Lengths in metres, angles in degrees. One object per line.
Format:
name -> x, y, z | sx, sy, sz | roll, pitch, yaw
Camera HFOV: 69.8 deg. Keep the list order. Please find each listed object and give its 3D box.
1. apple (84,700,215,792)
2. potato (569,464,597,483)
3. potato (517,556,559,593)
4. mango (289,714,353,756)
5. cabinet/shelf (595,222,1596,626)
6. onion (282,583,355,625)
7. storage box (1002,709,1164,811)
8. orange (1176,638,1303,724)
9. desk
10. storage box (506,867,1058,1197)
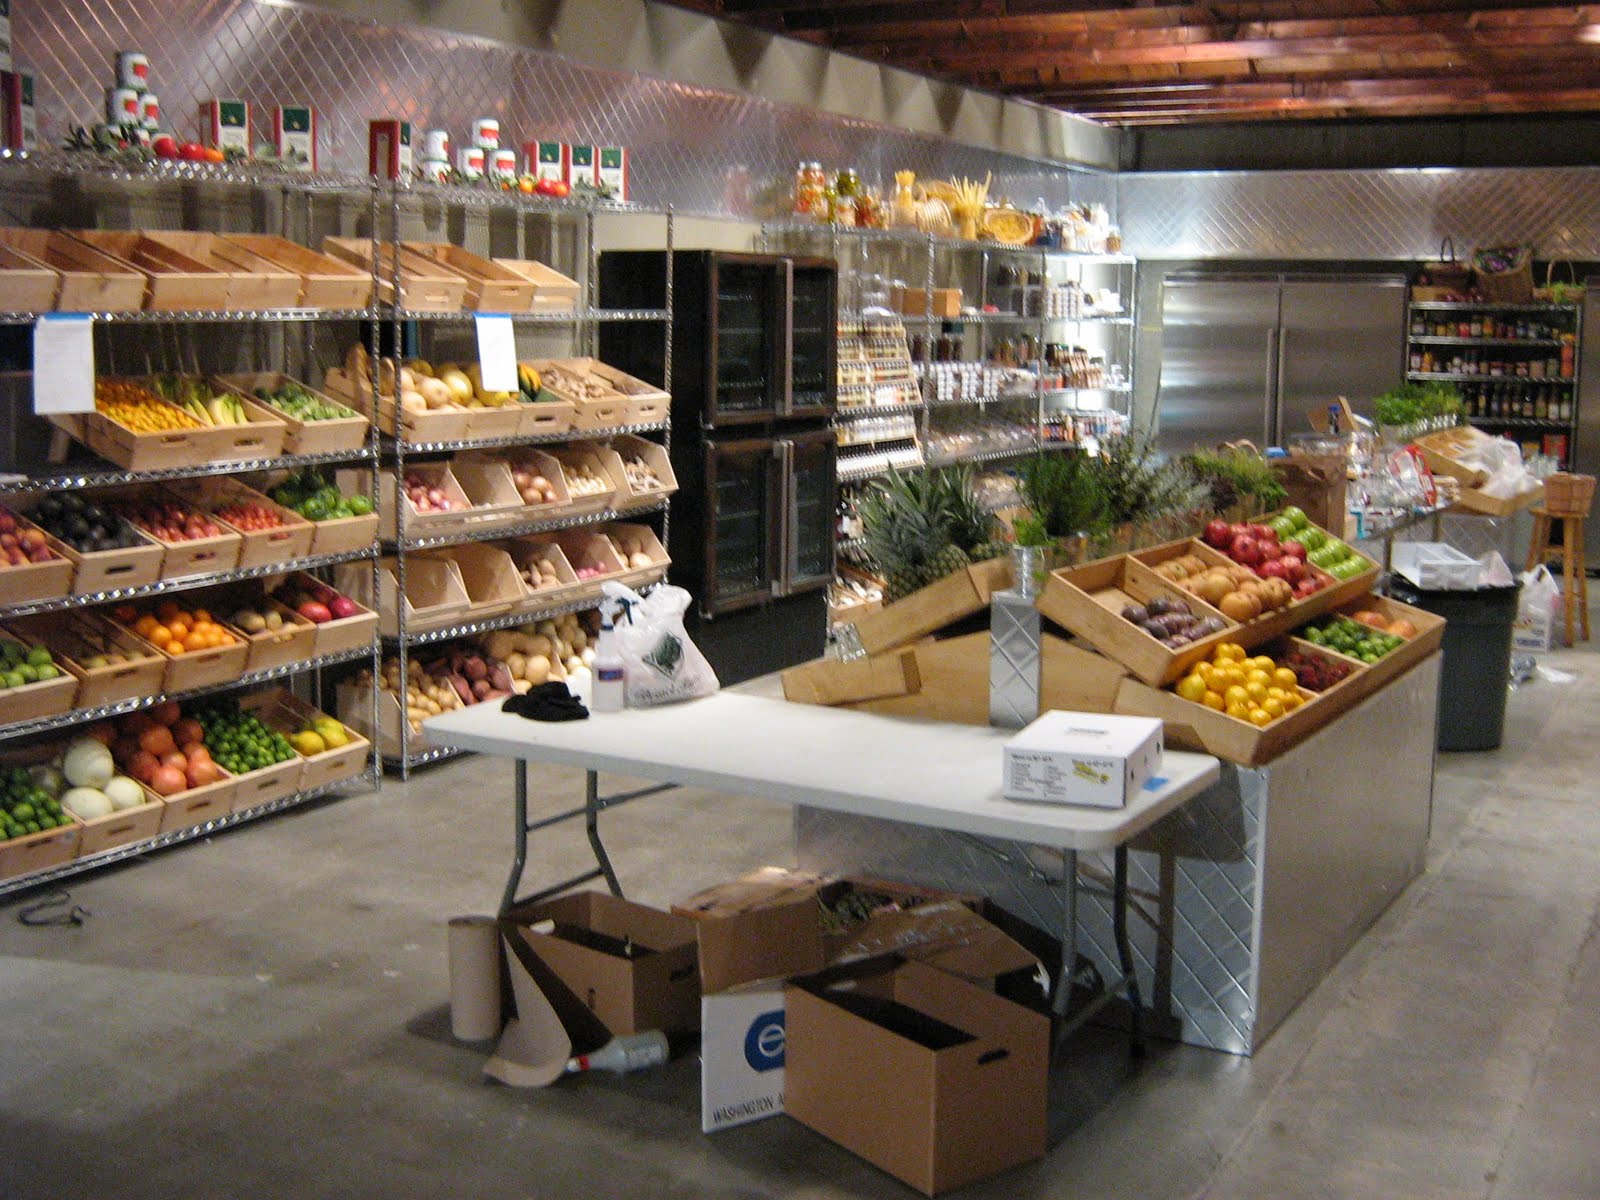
apple -> -2.691, 0.636, 4.816 | 0.387, 0.360, 0.297 | 9, 15, 17
potato -> -1.257, -0.718, 6.507 | 0.105, 0.033, 0.112 | 7, 24, 6
potato -> -1.442, -0.157, 6.337 | 0.209, 0.241, 0.087 | -3, -28, -13
mango -> -2.233, 0.623, 5.321 | 0.159, 0.097, 0.209 | 2, 11, -4
cabinet/shelf -> 2.182, -1.335, 7.867 | 4.069, 1.413, 1.158 | -7, 9, -41
onion -> -2.267, 0.001, 5.350 | 0.207, 0.067, 0.225 | 15, 15, 22
storage box -> 0.715, 0.390, 2.893 | 0.337, 0.138, 0.461 | 4, 9, 25
orange -> 1.358, 0.247, 3.448 | 0.256, 0.225, 0.356 | 8, 16, 34
desk -> 0.294, 0.761, 3.539 | 2.203, 0.945, 1.654 | 11, 16, 37
storage box -> -0.035, 1.054, 3.103 | 1.452, 0.537, 0.782 | 5, 9, 27
